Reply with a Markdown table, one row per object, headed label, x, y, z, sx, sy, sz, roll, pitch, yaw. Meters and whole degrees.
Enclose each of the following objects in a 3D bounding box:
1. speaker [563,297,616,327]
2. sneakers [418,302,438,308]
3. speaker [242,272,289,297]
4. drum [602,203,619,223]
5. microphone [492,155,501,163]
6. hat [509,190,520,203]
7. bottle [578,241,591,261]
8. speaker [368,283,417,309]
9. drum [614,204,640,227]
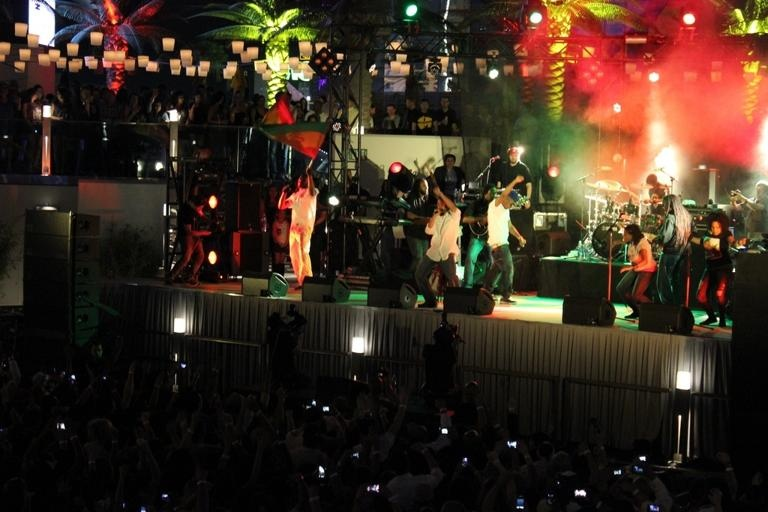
| label | x | y | z | sx | sy | sz | roll | pitch | yaw |
| --- | --- | --- | --- | --- | --- | --- | --- | --- | --- |
| speaker | 3.336 | 0.881 | 13.169 | 0.640 | 0.493 | 0.523 | 3 | 13 | 25 |
| sneakers | 0.789 | 0.858 | 14.461 | 0.359 | 0.153 | 0.120 | -6 | -5 | 39 |
| speaker | -2.153 | 0.524 | 15.188 | 0.536 | 0.349 | 0.549 | 2 | 3 | 23 |
| drum | 4.708 | -0.926 | 16.567 | 0.375 | 0.404 | 0.380 | 6 | 6 | 31 |
| microphone | 2.434 | -2.149 | 17.354 | 0.202 | 0.125 | 0.332 | 0 | 12 | 4 |
| hat | 2.495 | -1.179 | 15.351 | 0.191 | 0.191 | 0.189 | -31 | 29 | -34 |
| bottle | 4.075 | -0.143 | 16.302 | 0.240 | 0.374 | 0.130 | 1 | -4 | 36 |
| speaker | 0.154 | 0.707 | 14.395 | 0.520 | 0.362 | 0.575 | 4 | 4 | 33 |
| drum | 4.795 | -0.845 | 15.654 | 0.464 | 0.505 | 0.493 | 3 | 13 | 12 |
